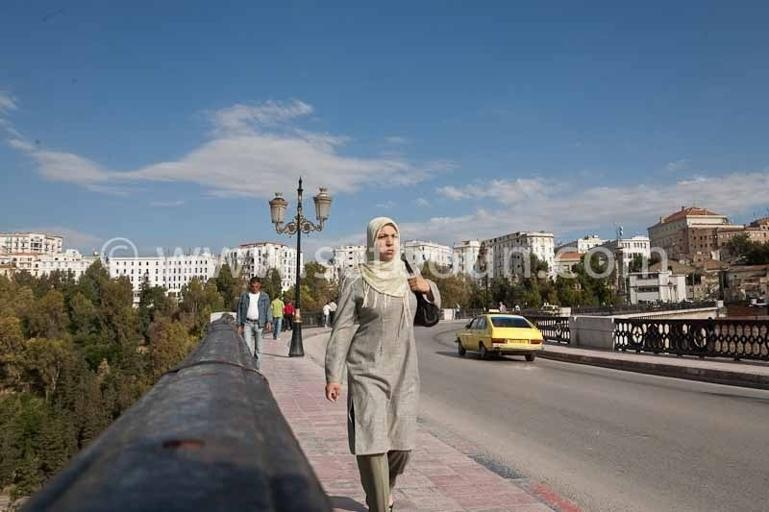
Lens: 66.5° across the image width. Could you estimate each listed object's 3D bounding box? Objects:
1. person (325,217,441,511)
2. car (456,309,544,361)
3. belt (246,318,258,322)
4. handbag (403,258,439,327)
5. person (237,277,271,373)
[{"bbox_3d":[-0.003,0.867,4.914,0.934,2.395,0.563,-1,-3,-6],"label":"person"},{"bbox_3d":[3.637,2.597,18.752,1.521,1.458,2.627,0,-4,-21],"label":"car"},{"bbox_3d":[-2.837,1.405,12.855,0.227,0.088,0.053,0,-4,-20],"label":"belt"},{"bbox_3d":[0.356,0.332,5.085,0.206,0.526,0.399,-8,-2,38],"label":"handbag"},{"bbox_3d":[-2.795,1.349,12.978,0.622,1.751,1.403,-1,-3,-1],"label":"person"}]
